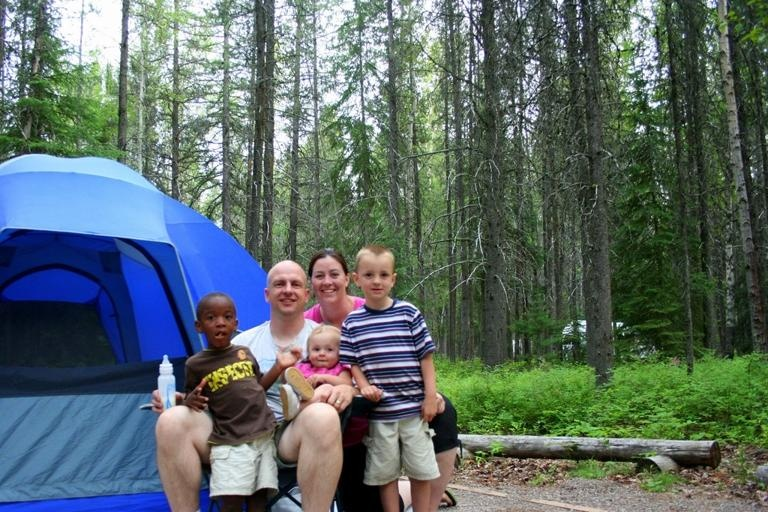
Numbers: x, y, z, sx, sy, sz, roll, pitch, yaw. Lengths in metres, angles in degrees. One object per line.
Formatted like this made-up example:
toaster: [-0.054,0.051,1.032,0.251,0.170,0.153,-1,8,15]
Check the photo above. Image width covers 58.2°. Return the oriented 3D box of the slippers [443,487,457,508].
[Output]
slippers: [1.009,3.753,10.606,0.140,0.185,0.442,-16,-41,-15]

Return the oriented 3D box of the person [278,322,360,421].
person: [-0.898,1.508,8.957,0.853,1.324,1.213,0,-21,13]

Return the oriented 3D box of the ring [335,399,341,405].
ring: [-0.578,1.848,8.713,0.083,0.093,0.028,2,-18,2]
